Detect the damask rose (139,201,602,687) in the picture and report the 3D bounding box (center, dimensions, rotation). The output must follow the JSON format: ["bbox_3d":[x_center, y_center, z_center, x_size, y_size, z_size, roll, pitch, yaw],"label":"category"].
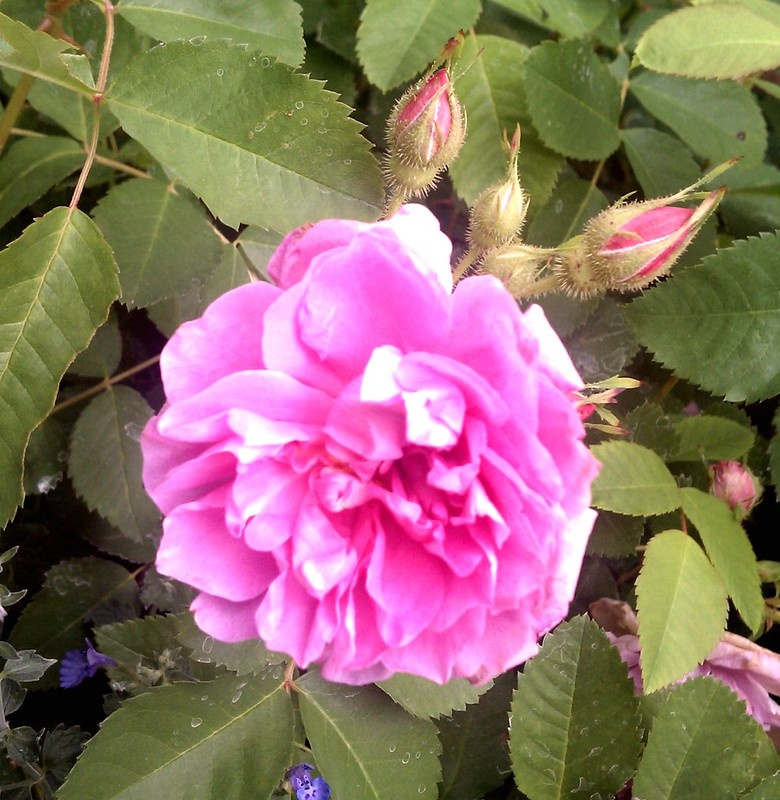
[{"bbox_3d":[-0.026,0.041,0.753,0.366,0.195,0.377,-5,81,-1],"label":"damask rose"}]

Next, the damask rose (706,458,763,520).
[{"bbox_3d":[0.373,0.097,1.035,0.041,0.032,0.060,4,81,0],"label":"damask rose"}]

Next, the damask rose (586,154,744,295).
[{"bbox_3d":[0.231,-0.149,0.910,0.168,0.087,0.078,-26,59,13],"label":"damask rose"}]
